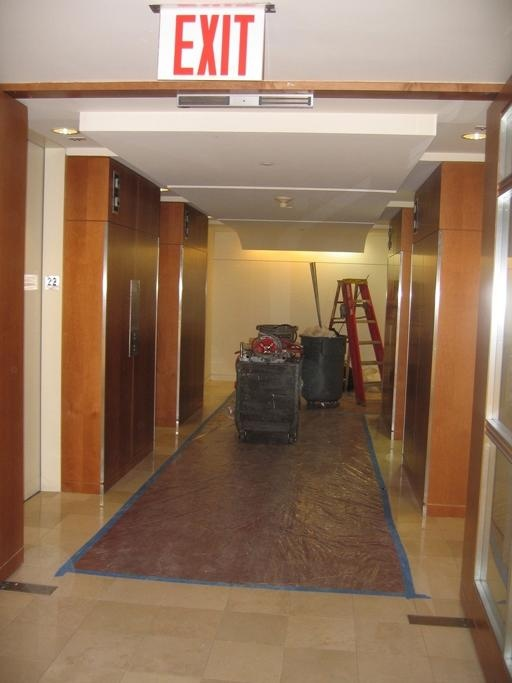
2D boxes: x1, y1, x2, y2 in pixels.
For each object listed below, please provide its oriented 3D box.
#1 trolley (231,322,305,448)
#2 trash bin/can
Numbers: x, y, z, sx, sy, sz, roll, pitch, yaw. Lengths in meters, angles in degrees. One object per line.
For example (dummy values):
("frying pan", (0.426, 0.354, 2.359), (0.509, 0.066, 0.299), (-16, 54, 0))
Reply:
("trolley", (0.250, 0.489, 6.921), (1.038, 1.784, 1.295), (1, 7, 6))
("trash bin/can", (1.026, 0.422, 8.369), (0.711, 1.017, 0.772), (2, 2, 20))
